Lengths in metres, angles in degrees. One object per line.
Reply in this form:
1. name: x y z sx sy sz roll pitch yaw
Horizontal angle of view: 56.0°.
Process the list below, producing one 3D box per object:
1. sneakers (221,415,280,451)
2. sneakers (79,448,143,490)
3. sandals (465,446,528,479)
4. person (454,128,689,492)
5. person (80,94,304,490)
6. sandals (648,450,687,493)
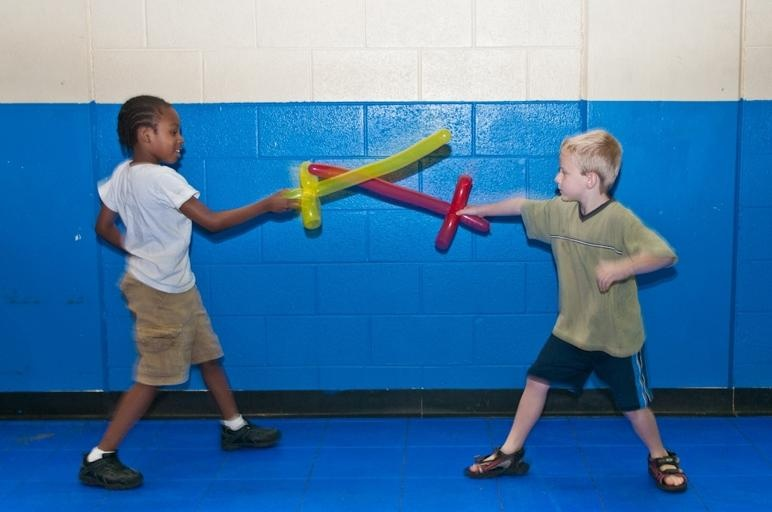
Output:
1. sneakers: -0.723 0.953 3.930 0.370 0.160 0.138 -1 5 -8
2. sneakers: -1.355 1.052 3.601 0.339 0.167 0.164 5 9 15
3. sandals: 0.554 1.036 3.643 0.364 0.135 0.123 1 -2 -1
4. person: 0.967 0.238 3.566 1.032 1.661 0.623 1 17 9
5. person: -1.035 0.321 3.639 0.960 1.523 0.673 -1 17 1
6. sandals: 1.354 1.044 3.482 0.106 0.084 0.244 -4 0 7
